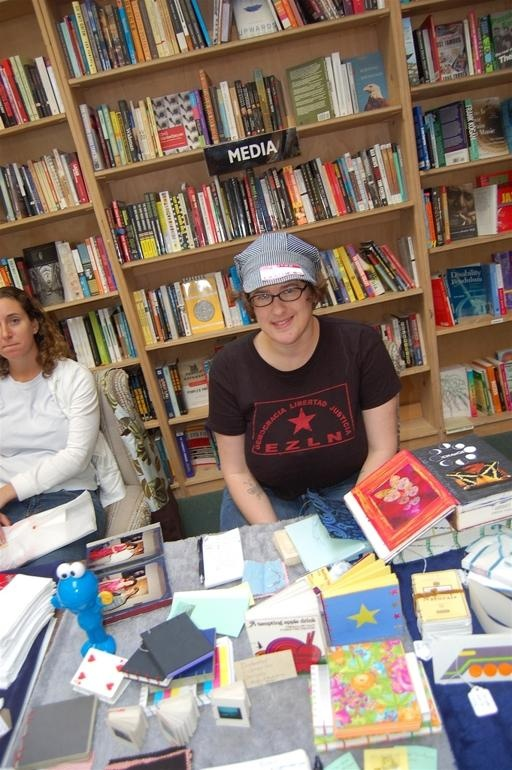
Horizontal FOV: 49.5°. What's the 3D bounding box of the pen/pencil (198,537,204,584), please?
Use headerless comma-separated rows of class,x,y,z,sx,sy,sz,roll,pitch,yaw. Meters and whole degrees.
pen/pencil,-0.112,0.342,1.086,0.010,0.014,0.097,-46,35,29

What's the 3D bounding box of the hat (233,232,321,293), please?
hat,0.053,-0.278,1.256,0.189,0.124,0.169,-16,22,3
